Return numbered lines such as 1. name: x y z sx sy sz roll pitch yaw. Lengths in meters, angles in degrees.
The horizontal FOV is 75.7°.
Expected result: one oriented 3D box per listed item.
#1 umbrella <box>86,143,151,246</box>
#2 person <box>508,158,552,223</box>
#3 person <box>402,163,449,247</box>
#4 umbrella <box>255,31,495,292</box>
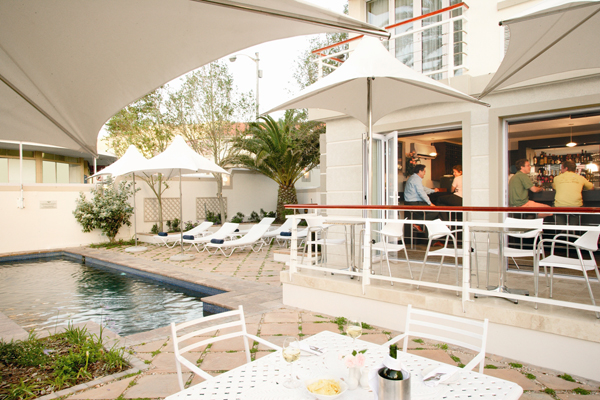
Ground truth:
1. umbrella: -6.061 -0.535 14.059 2.509 2.635 2.397 -8 -14 -5
2. person: 4.521 -0.219 7.702 0.519 1.214 1.057 -1 0 42
3. person: 2.953 0.025 9.332 0.948 1.662 0.615 3 0 -5
4. umbrella: 1.182 -1.017 7.234 3.300 2.638 3.164 -7 9 -40
